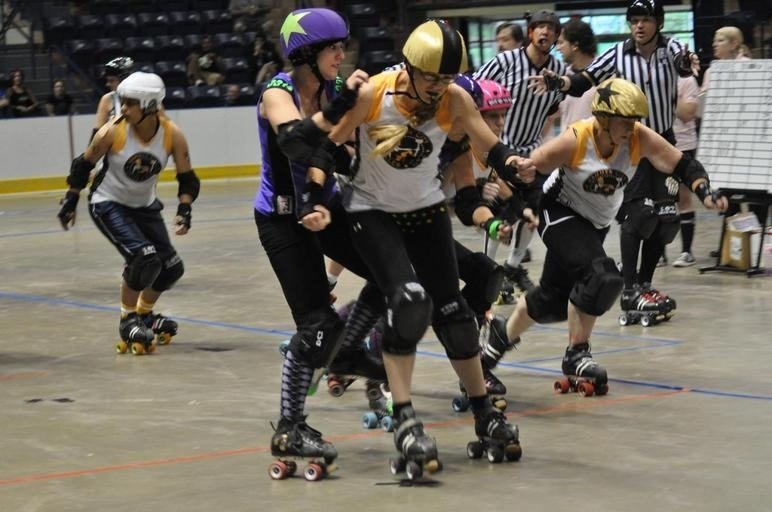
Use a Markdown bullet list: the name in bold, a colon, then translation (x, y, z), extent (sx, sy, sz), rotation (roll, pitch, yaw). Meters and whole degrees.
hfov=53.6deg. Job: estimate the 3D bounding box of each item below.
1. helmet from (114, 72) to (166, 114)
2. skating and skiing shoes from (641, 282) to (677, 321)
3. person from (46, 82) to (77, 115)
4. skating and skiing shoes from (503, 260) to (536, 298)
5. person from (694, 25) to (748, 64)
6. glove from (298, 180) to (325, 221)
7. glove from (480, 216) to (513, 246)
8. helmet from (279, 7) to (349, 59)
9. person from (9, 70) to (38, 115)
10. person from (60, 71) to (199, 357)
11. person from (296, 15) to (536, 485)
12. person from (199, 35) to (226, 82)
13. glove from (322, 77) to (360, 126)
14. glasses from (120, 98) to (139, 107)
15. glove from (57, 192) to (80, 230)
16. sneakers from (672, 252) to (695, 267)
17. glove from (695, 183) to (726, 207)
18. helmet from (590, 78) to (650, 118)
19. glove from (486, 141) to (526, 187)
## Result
- **helmet**: translation (-1.995, -1.329, 6.201), extent (0.394, 0.332, 0.311), rotation (-3, 13, -27)
- **skating and skiing shoes**: translation (2.402, 0.391, 6.732), extent (0.173, 0.193, 0.466), rotation (-8, 10, -31)
- **person**: translation (-7.572, -3.624, 17.769), extent (0.682, 0.952, 0.613), rotation (-7, 14, -27)
- **skating and skiing shoes**: translation (1.240, 0.226, 7.190), extent (0.225, 0.346, 0.146), rotation (-44, 2, 31)
- **person**: translation (4.366, -2.721, 9.727), extent (0.325, 0.494, 1.276), rotation (2, 11, 21)
- **glove**: translation (-0.367, -0.269, 3.724), extent (0.075, 0.178, 0.121), rotation (-6, -29, 44)
- **glove**: translation (0.574, -0.145, 4.046), extent (0.120, 0.073, 0.151), rotation (0, 7, -23)
- **helmet**: translation (-0.352, -1.134, 3.940), extent (0.327, 0.172, 0.279), rotation (-5, 4, 7)
- **person**: translation (-8.436, -3.713, 17.560), extent (0.584, 1.021, 0.819), rotation (-10, 13, -35)
- **person**: translation (-2.083, -0.373, 6.345), extent (1.053, 2.244, 0.861), rotation (-5, 11, -14)
- **person**: translation (0.204, -0.021, 3.782), extent (0.918, 2.209, 0.550), rotation (-2, 11, -3)
- **person**: translation (-4.559, -5.045, 19.928), extent (0.661, 1.184, 1.454), rotation (-4, 11, -11)
- **glove**: translation (-0.215, -0.702, 3.610), extent (0.089, 0.090, 0.315), rotation (12, -33, -19)
- **glasses**: translation (-2.033, -1.214, 6.067), extent (0.169, 0.097, 0.050), rotation (0, 11, 7)
- **glove**: translation (-2.699, -0.397, 6.502), extent (0.244, 0.332, 0.135), rotation (1, -11, -39)
- **sneakers**: translation (3.507, 0.036, 8.907), extent (0.339, 0.138, 0.126), rotation (-2, 5, -14)
- **glove**: translation (2.076, -0.381, 4.885), extent (0.199, 0.088, 0.149), rotation (40, 23, 16)
- **helmet**: translation (1.421, -0.964, 4.655), extent (0.317, 0.235, 0.254), rotation (20, 25, 41)
- **glove**: translation (0.621, -0.455, 3.938), extent (0.224, 0.099, 0.227), rotation (40, 25, 16)
